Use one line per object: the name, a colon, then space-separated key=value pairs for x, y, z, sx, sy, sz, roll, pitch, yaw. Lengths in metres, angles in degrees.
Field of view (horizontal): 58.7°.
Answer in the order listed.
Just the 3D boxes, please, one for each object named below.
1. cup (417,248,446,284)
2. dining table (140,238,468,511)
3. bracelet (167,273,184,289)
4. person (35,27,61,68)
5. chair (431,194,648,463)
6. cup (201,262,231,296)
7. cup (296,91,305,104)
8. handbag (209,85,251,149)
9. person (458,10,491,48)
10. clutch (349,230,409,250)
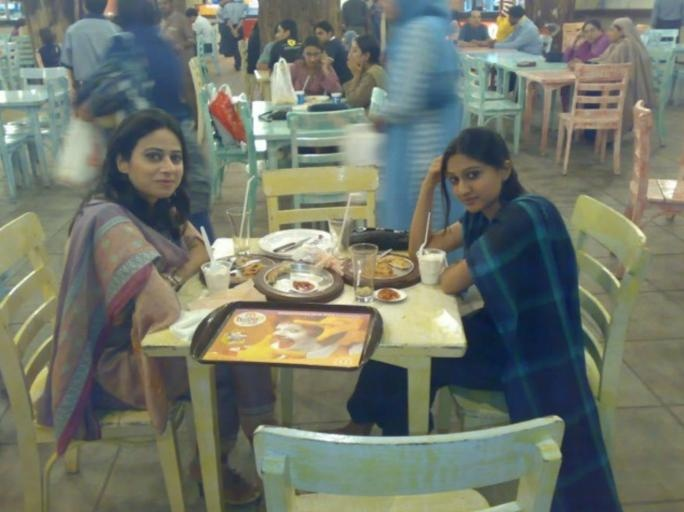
cup: x=0.348 y=0.036 z=2.468 sx=0.125 sy=0.128 sz=0.127 roll=-1 pitch=21 yaw=0
dining table: x=-0.072 y=0.340 z=2.348 sx=1.009 sy=0.854 sz=0.778 roll=-1 pitch=39 yaw=0
bracelet: x=-0.684 y=0.107 z=2.487 sx=0.068 sy=0.024 sz=0.049 roll=30 pitch=-15 yaw=40
person: x=-3.781 y=-2.665 z=7.819 sx=0.252 sy=0.527 sz=0.695 roll=-5 pitch=13 yaw=-24
chair: x=0.792 y=0.393 z=2.653 sx=0.886 sy=1.173 sz=0.838 roll=5 pitch=25 yaw=24
cup: x=-0.483 y=0.081 z=2.410 sx=0.111 sy=0.125 sz=0.115 roll=-1 pitch=24 yaw=0
cup: x=-0.385 y=-1.459 z=5.604 sx=0.071 sy=0.117 sz=0.115 roll=0 pitch=5 yaw=-1
handbag: x=-0.921 y=-1.097 z=5.044 sx=0.189 sy=0.528 sz=0.463 roll=-14 pitch=52 yaw=-10
person: x=2.482 y=-4.259 z=11.372 sx=0.397 sy=0.717 sz=0.534 roll=15 pitch=-15 yaw=10
clutch: x=0.161 y=-0.079 z=2.744 sx=0.165 sy=0.051 sz=0.122 roll=-2 pitch=20 yaw=-3
